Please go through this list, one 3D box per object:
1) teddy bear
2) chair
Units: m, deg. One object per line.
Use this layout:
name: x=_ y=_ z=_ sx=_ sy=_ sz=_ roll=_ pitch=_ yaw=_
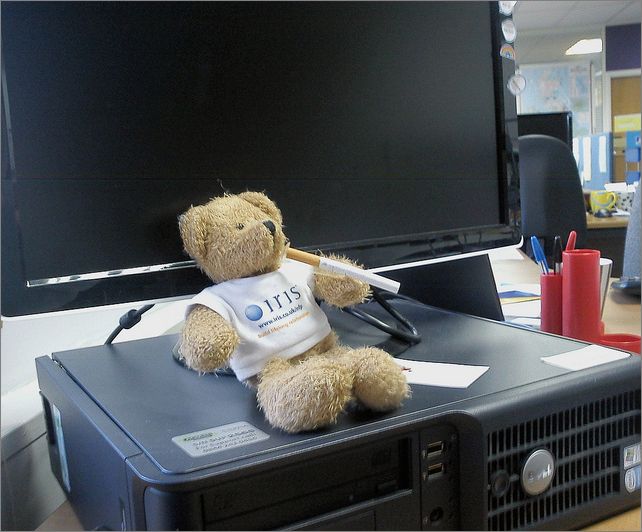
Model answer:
teddy bear: x=-0.022 y=0.030 z=0.546 sx=0.209 sy=0.235 sz=0.193 roll=-10 pitch=18 yaw=-41
chair: x=0.784 y=-0.242 z=1.790 sx=0.183 sy=0.360 sz=0.204 roll=-7 pitch=9 yaw=-23
